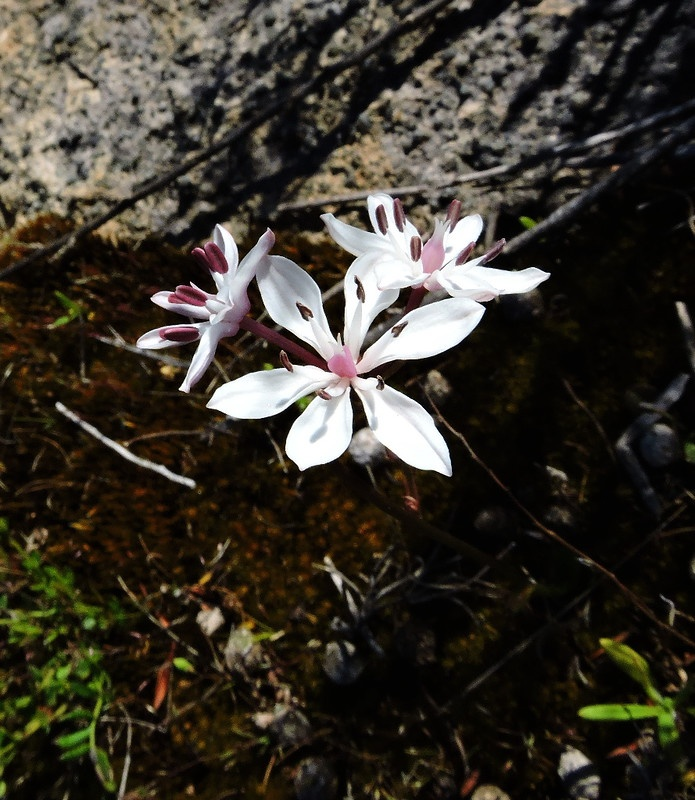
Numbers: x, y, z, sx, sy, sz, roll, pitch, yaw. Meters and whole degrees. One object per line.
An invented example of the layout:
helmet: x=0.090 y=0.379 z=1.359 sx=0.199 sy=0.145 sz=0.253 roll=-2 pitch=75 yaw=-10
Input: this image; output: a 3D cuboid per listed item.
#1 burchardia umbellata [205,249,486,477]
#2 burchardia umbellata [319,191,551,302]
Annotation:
burchardia umbellata: x=-0.020 y=-0.059 z=2.559 sx=0.655 sy=0.588 sz=0.222 roll=29 pitch=-41 yaw=-9
burchardia umbellata: x=0.239 y=-0.440 z=2.574 sx=0.478 sy=0.446 sz=0.155 roll=18 pitch=-74 yaw=-4
